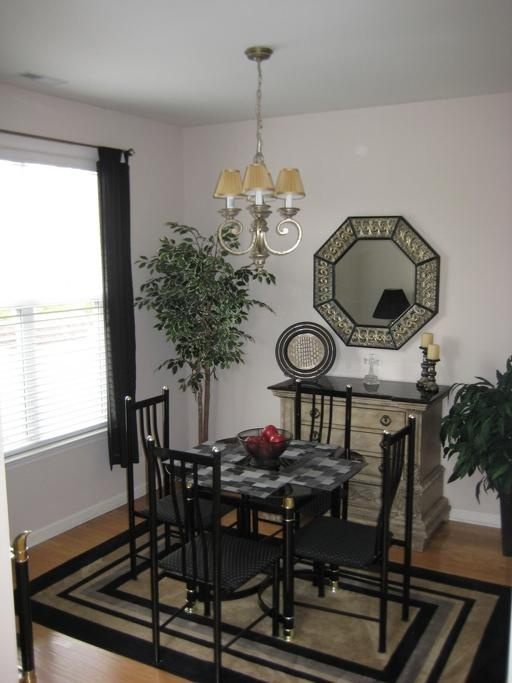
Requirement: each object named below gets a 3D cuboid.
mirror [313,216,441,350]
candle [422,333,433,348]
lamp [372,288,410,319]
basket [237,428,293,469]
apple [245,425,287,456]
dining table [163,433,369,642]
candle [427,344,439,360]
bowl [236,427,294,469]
[{"bbox_3d":[0.872,-0.404,4.114,0.987,0.909,0.045,2,5,30],"label":"mirror"},{"bbox_3d":[1.084,-0.003,3.777,0.081,0.085,0.079,1,-3,4],"label":"candle"},{"bbox_3d":[0.902,-0.246,4.060,0.190,0.133,0.209,2,3,31],"label":"lamp"},{"bbox_3d":[0.043,0.507,2.947,0.220,0.147,0.213,0,-2,-1],"label":"basket"},{"bbox_3d":[0.052,0.485,2.923,0.164,0.091,0.162,0,-2,1],"label":"apple"},{"bbox_3d":[0.147,0.663,2.746,0.929,0.722,1.021,3,9,23],"label":"dining table"},{"bbox_3d":[1.105,0.073,3.736,0.083,0.106,0.058,4,6,36],"label":"candle"},{"bbox_3d":[0.064,0.499,2.922,0.212,0.148,0.209,1,-29,1],"label":"bowl"}]
